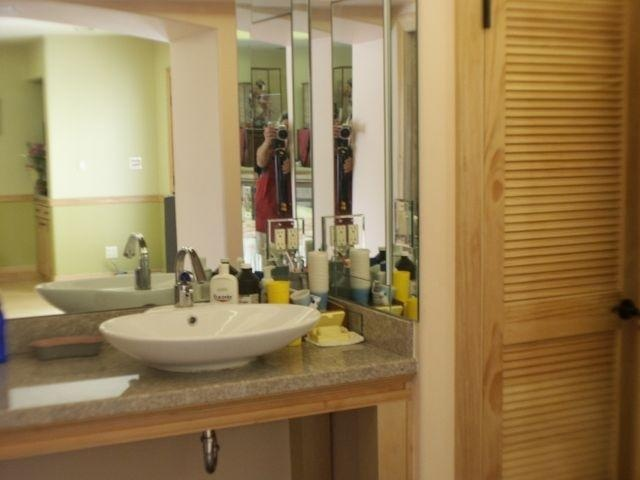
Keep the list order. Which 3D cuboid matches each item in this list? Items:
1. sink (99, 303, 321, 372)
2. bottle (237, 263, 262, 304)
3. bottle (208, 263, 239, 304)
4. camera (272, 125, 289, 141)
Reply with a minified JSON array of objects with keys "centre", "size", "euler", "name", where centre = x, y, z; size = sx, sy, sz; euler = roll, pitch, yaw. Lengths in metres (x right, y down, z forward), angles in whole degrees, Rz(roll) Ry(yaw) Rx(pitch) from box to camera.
[{"centre":[-0.331,0.312,1.928],"size":[0.667,0.151,0.427],"euler":[-2,7,-2],"name":"sink"},{"centre":[-0.263,0.171,2.267],"size":[0.085,0.149,0.093],"euler":[-4,6,0],"name":"bottle"},{"centre":[-0.340,0.150,2.158],"size":[0.104,0.148,0.103],"euler":[-2,7,0],"name":"bottle"},{"centre":[-0.154,-0.426,2.393],"size":[0.050,0.050,0.051],"euler":[-1,5,-14],"name":"camera"}]
